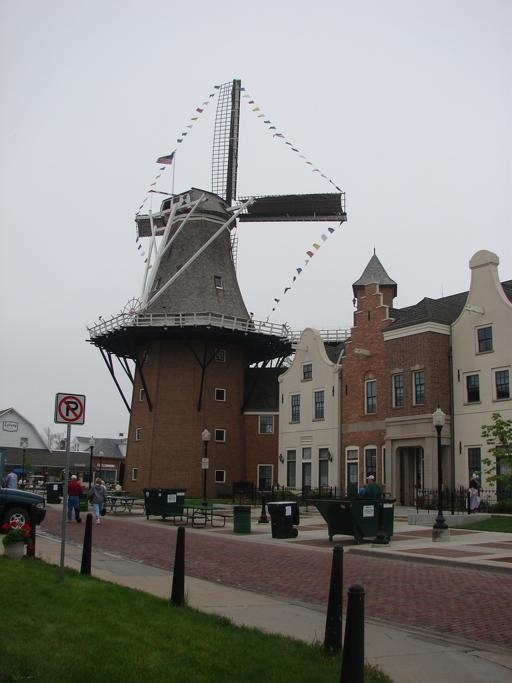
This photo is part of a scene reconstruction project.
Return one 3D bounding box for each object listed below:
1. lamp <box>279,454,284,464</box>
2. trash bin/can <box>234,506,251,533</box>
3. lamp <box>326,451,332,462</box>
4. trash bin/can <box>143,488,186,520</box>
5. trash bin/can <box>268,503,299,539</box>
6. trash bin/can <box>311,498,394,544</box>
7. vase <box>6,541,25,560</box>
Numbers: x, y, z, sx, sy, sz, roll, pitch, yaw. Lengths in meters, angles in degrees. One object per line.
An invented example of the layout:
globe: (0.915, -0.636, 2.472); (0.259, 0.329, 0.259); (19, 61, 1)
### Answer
lamp: (1.557, 6.948, 44.283); (0.126, 0.552, 0.551); (4, -10, -16)
trash bin/can: (-0.383, 5.399, 22.643); (0.537, 0.835, 0.416); (5, -10, -18)
lamp: (4.021, 6.216, 40.416); (0.153, 0.539, 0.702); (3, -10, -9)
trash bin/can: (-3.224, 6.214, 27.278); (1.229, 1.533, 1.911); (8, -14, -26)
trash bin/can: (0.918, 5.058, 21.268); (1.031, 1.181, 0.723); (5, -6, -31)
trash bin/can: (2.585, 4.538, 19.247); (1.600, 1.064, 1.317); (8, -14, -34)
vase: (-4.133, 3.563, 12.729); (0.279, 0.215, 0.289); (3, -17, -2)
